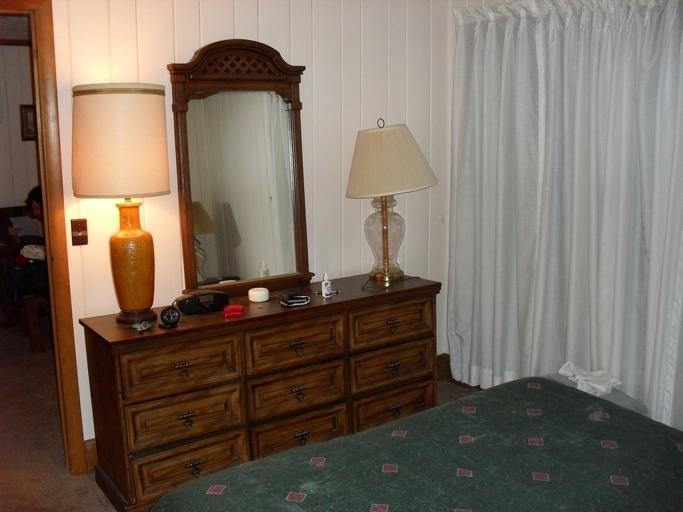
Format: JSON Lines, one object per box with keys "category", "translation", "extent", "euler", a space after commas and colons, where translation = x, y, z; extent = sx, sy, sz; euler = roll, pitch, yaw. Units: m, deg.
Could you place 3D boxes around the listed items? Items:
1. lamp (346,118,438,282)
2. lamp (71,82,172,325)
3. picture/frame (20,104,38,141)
{"category": "lamp", "translation": [0.302, -0.301, 3.523], "extent": [0.499, 0.973, 0.349], "euler": [7, 16, 43]}
{"category": "lamp", "translation": [-1.092, -0.266, 2.965], "extent": [0.494, 1.204, 0.264], "euler": [-9, 13, -22]}
{"category": "picture/frame", "translation": [-3.806, -1.634, 7.015], "extent": [0.201, 0.444, 0.132], "euler": [-3, 12, 8]}
